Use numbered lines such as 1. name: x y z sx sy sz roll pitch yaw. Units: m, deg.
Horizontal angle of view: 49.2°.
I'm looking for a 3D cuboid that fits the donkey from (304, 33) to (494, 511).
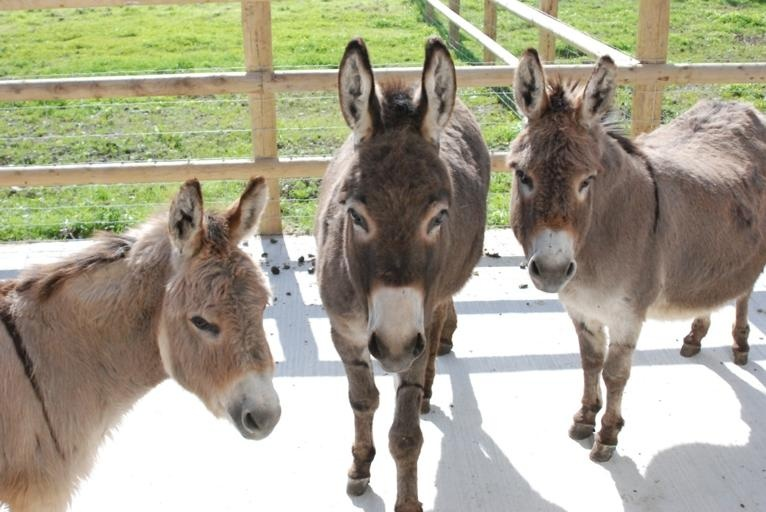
1. donkey: 0.095 0.099 7.019 1.069 3.707 1.755 10 27 21
